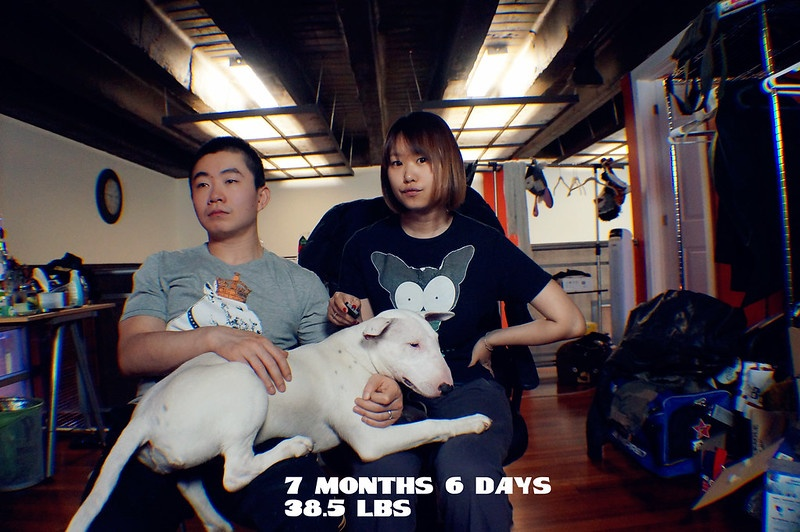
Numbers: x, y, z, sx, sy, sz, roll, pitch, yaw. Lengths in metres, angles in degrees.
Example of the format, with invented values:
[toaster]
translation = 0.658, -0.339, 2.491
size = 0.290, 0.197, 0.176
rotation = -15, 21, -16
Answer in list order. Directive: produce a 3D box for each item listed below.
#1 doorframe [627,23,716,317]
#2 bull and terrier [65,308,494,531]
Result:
[doorframe]
translation = 2.736, -0.966, 5.389
size = 0.380, 2.727, 0.946
rotation = -5, 0, -9
[bull and terrier]
translation = -0.570, 0.805, 2.983
size = 2.176, 0.976, 1.124
rotation = -6, 0, -30
